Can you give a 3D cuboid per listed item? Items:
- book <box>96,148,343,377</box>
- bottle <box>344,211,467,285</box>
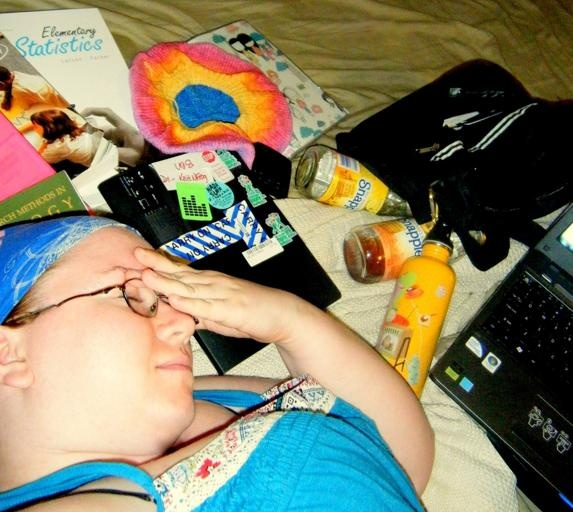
[{"bbox_3d":[-0.203,0.017,1.300,0.473,0.134,0.549,-32,86,-23],"label":"book"},{"bbox_3d":[0.280,-0.026,1.157,0.133,0.119,0.167,-1,83,21],"label":"bottle"}]
